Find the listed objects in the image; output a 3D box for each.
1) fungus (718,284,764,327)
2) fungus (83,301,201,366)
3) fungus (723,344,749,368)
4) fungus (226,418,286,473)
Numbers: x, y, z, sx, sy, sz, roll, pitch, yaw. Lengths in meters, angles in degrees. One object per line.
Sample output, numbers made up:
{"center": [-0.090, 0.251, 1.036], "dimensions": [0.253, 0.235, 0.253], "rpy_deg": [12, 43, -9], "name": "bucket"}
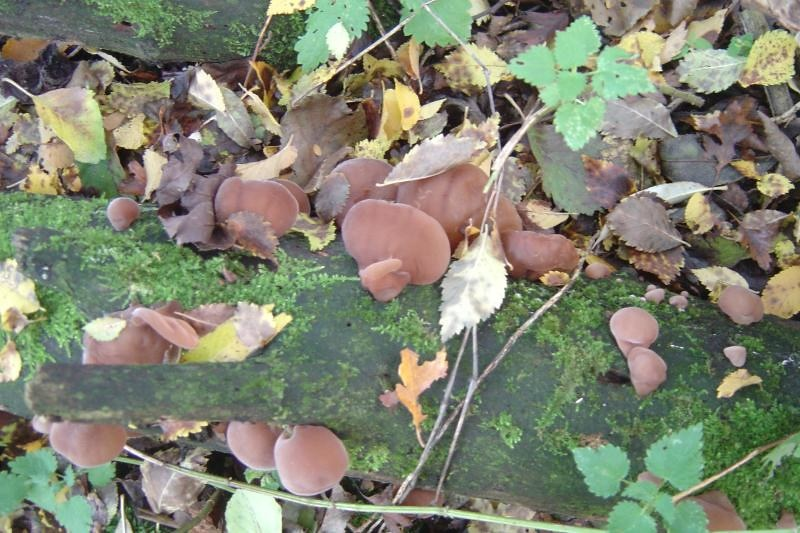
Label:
{"center": [1.938, 0.216, 4.102], "dimensions": [0.196, 0.117, 0.247], "rpy_deg": [-30, 71, -11], "name": "fungus"}
{"center": [-1.415, 0.381, 3.949], "dimensions": [0.468, 0.195, 0.339], "rpy_deg": [-12, 85, -10], "name": "fungus"}
{"center": [1.829, 0.482, 3.932], "dimensions": [0.134, 0.036, 0.118], "rpy_deg": [13, 69, 5], "name": "fungus"}
{"center": [-0.854, 0.966, 4.055], "dimensions": [0.286, 0.290, 0.158], "rpy_deg": [49, 61, -30], "name": "fungus"}
